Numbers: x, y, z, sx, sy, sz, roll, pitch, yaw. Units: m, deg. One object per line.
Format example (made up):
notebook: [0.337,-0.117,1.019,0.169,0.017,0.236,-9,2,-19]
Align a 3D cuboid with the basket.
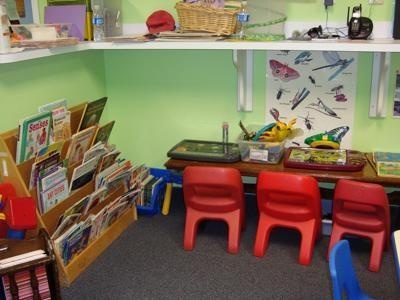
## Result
basket: [0.045,-0.971,2.318,0.371,0.172,0.301,4,23,10]

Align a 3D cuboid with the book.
book: [-0.799,0.228,2.205,0.576,0.973,1.030,6,26,19]

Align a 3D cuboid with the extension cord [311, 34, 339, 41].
extension cord: [0.927,-0.828,2.272,0.190,0.048,0.351,6,20,21]

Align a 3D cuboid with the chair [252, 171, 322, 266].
chair: [0.627,0.495,2.196,0.431,0.621,0.454,6,34,20]

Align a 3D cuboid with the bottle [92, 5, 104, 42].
bottle: [-0.828,-1.004,2.452,0.099,0.264,0.082,-6,19,-12]

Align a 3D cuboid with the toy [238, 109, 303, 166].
toy: [0.554,-0.109,2.451,0.453,0.339,0.351,4,20,14]

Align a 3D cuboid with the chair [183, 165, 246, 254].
chair: [0.083,0.358,2.356,0.513,0.736,0.610,2,28,6]

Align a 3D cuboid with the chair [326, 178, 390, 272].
chair: [1.045,0.496,2.008,0.385,0.555,0.452,5,41,25]
